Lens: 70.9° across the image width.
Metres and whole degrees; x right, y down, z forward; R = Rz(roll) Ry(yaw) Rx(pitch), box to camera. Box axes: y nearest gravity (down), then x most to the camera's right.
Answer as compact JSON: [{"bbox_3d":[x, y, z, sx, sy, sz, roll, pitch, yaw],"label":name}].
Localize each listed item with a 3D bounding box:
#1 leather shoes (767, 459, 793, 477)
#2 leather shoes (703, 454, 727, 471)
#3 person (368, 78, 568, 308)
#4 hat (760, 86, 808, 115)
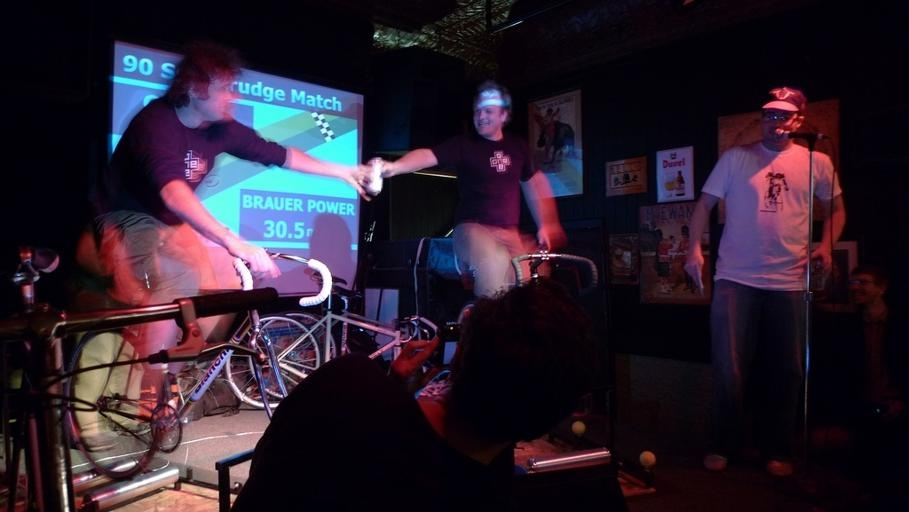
[{"bbox_3d":[2.820,1.810,5.469,0.188,0.094,0.236,1,2,32],"label":"leather shoes"},{"bbox_3d":[2.301,1.782,5.519,0.238,0.117,0.105,0,2,-10],"label":"leather shoes"},{"bbox_3d":[0.306,-0.645,5.958,1.510,1.971,0.673,0,2,-8],"label":"person"},{"bbox_3d":[3.015,-1.355,5.746,0.365,0.173,0.524,19,22,29],"label":"hat"}]
